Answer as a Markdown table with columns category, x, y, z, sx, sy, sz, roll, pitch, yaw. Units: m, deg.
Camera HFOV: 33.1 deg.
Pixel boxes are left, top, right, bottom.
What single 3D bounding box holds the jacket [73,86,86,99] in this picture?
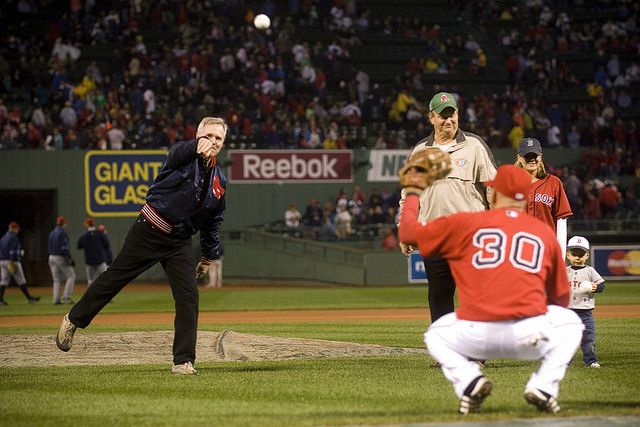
| category | x | y | z | sx | sy | sz | roll | pitch | yaw |
| --- | --- | --- | --- | --- | --- | --- | --- | --- | --- |
| jacket | -9.605 | -4.868 | 43.161 | 0.532 | 0.414 | 0.164 | 4 | -16 | -13 |

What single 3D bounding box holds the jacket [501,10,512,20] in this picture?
| category | x | y | z | sx | sy | sz | roll | pitch | yaw |
| --- | --- | --- | --- | --- | --- | --- | --- | --- | --- |
| jacket | 8.895 | -9.528 | 51.598 | 0.414 | 0.406 | 0.090 | 10 | -20 | 2 |

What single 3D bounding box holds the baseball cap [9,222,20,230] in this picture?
| category | x | y | z | sx | sy | sz | roll | pitch | yaw |
| --- | --- | --- | --- | --- | --- | --- | --- | --- | --- |
| baseball cap | -10.143 | 0.407 | 35.961 | 0.265 | 0.209 | 0.407 | 16 | 2 | 29 |

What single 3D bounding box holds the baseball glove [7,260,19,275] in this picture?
| category | x | y | z | sx | sy | sz | roll | pitch | yaw |
| --- | --- | --- | --- | --- | --- | --- | --- | --- | --- |
| baseball glove | -10.131 | 1.795 | 35.556 | 0.315 | 0.427 | 0.150 | -41 | 3 | 20 |

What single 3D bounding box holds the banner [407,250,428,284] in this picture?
| category | x | y | z | sx | sy | sz | roll | pitch | yaw |
| --- | --- | --- | --- | --- | --- | --- | --- | --- | --- |
| banner | 3.525 | 1.982 | 39.535 | 0.692 | 1.188 | 1.251 | 2 | 0 | 5 |

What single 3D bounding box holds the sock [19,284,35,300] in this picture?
| category | x | y | z | sx | sy | sz | roll | pitch | yaw |
| --- | --- | --- | --- | --- | --- | --- | --- | --- | --- |
| sock | -9.876 | 2.633 | 36.221 | 0.592 | 0.220 | 0.718 | -9 | -17 | -16 |

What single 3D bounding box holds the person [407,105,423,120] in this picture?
| category | x | y | z | sx | sy | sz | roll | pitch | yaw |
| --- | --- | --- | --- | --- | --- | --- | --- | --- | --- |
| person | 3.933 | -4.253 | 45.293 | 0.562 | 0.322 | 0.904 | -5 | 37 | 2 |

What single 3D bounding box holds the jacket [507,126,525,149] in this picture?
| category | x | y | z | sx | sy | sz | roll | pitch | yaw |
| --- | --- | --- | --- | --- | --- | --- | --- | --- | --- |
| jacket | 8.094 | -3.178 | 44.619 | 0.845 | 0.629 | 1.303 | -1 | 1 | 1 |

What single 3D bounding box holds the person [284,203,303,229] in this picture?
| category | x | y | z | sx | sy | sz | roll | pitch | yaw |
| --- | --- | --- | --- | --- | --- | --- | --- | --- | --- |
| person | -1.043 | 0.079 | 42.394 | 0.674 | 0.848 | 1.509 | 2 | 1 | -3 |

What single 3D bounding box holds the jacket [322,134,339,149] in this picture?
| category | x | y | z | sx | sy | sz | roll | pitch | yaw |
| --- | --- | --- | --- | --- | --- | --- | --- | --- | --- |
| jacket | 0.380 | -2.848 | 43.346 | 0.466 | 0.309 | 0.603 | 35 | -8 | 9 |

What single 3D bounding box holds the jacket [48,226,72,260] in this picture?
| category | x | y | z | sx | sy | sz | roll | pitch | yaw |
| --- | --- | --- | --- | --- | --- | --- | --- | --- | --- |
| jacket | -8.721 | 0.964 | 35.993 | 0.588 | 1.056 | 1.150 | 7 | -6 | -42 |

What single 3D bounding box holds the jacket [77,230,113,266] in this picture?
| category | x | y | z | sx | sy | sz | roll | pitch | yaw |
| --- | --- | --- | --- | --- | --- | --- | --- | --- | --- |
| jacket | -7.656 | 1.213 | 36.586 | 1.456 | 1.518 | 0.855 | -1 | 8 | -2 |

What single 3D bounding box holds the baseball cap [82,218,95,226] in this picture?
| category | x | y | z | sx | sy | sz | roll | pitch | yaw |
| --- | --- | --- | --- | --- | --- | --- | --- | --- | --- |
| baseball cap | -7.741 | 0.325 | 35.908 | 0.476 | 0.243 | 0.305 | 1 | 20 | 12 |

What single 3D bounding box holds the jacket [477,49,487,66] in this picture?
| category | x | y | z | sx | sy | sz | roll | pitch | yaw |
| --- | --- | --- | --- | --- | --- | --- | --- | --- | --- |
| jacket | 7.390 | -7.190 | 49.422 | 0.413 | 0.741 | 0.818 | 2 | 0 | 7 |

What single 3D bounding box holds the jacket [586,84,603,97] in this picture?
| category | x | y | z | sx | sy | sz | roll | pitch | yaw |
| --- | --- | --- | --- | --- | --- | --- | --- | --- | --- |
| jacket | 12.022 | -5.439 | 47.444 | 0.490 | 0.220 | 0.578 | -1 | 36 | 13 |

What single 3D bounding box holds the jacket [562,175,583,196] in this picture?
| category | x | y | z | sx | sy | sz | roll | pitch | yaw |
| --- | --- | --- | --- | --- | --- | --- | --- | --- | --- |
| jacket | 9.465 | -1.036 | 40.722 | 0.954 | 0.877 | 0.520 | 2 | 10 | 12 |
